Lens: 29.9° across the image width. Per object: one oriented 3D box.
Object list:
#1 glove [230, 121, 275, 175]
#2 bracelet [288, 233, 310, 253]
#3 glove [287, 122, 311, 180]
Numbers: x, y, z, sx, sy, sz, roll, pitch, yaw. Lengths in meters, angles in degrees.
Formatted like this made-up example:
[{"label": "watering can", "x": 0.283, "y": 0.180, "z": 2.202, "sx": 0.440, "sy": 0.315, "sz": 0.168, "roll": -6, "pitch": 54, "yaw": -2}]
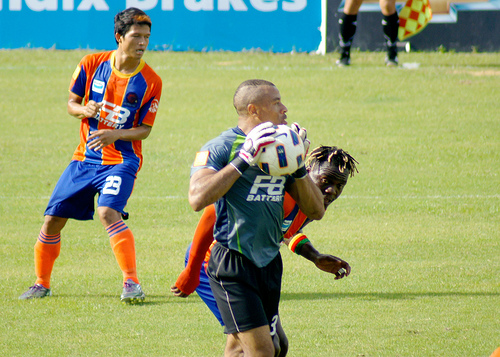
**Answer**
[{"label": "glove", "x": 0.049, "y": -0.341, "z": 11.301, "sx": 0.522, "sy": 0.625, "sz": 0.209, "roll": 3, "pitch": 9, "yaw": -6}, {"label": "bracelet", "x": 0.644, "y": 0.874, "z": 12.018, "sx": 0.216, "sy": 0.130, "sz": 0.255, "roll": -38, "pitch": -16, "yaw": -17}, {"label": "glove", "x": 0.669, "y": -0.288, "z": 11.627, "sx": 0.398, "sy": 0.575, "sz": 0.179, "roll": -8, "pitch": -11, "yaw": 35}]
